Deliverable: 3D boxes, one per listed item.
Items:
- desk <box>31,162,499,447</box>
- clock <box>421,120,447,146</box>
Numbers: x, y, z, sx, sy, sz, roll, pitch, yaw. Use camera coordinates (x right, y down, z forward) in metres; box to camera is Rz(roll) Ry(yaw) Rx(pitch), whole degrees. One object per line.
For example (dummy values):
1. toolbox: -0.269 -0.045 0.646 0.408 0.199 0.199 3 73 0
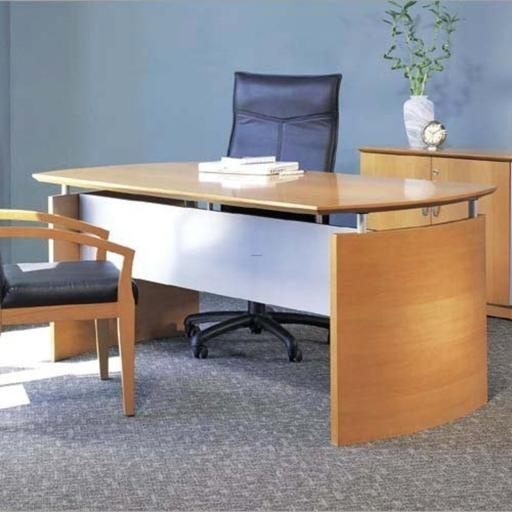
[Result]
1. desk: 0.186 0.129 2.244 1.223 0.900 0.844 6 10 39
2. clock: 1.208 -0.833 3.796 0.172 0.164 0.040 2 6 42
